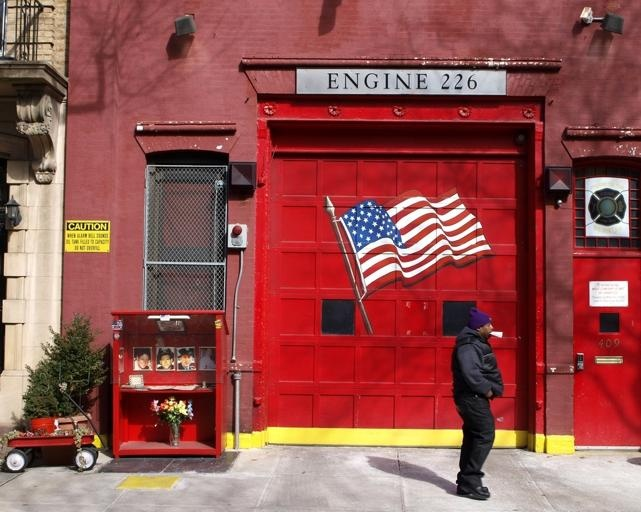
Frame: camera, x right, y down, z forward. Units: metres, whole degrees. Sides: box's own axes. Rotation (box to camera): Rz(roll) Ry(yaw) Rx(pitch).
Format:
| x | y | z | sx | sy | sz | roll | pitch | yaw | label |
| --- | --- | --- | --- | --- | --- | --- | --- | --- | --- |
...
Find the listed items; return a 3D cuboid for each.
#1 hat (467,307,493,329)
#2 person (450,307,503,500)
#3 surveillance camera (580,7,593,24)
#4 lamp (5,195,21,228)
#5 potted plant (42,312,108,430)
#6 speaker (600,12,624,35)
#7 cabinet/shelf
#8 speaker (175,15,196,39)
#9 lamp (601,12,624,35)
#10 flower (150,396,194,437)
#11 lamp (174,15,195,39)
| x | y | z | sx | sy | sz | roll | pitch | yaw | label |
| --- | --- | --- | --- | --- | --- | --- | --- | --- | --- |
| 2.168 | 0.863 | 15.655 | 0.316 | 0.238 | 0.236 | 2 | 1 | 8 | hat |
| 2.104 | 1.978 | 15.454 | 0.672 | 2.559 | 0.517 | -2 | -8 | 10 | person |
| 3.981 | -3.608 | 17.197 | 0.203 | 0.247 | 0.185 | -2 | -8 | 8 | surveillance camera |
| -4.708 | -0.668 | 17.198 | 0.274 | 0.495 | 0.213 | -2 | -8 | 11 | lamp |
| -3.603 | 1.707 | 16.810 | 0.931 | 1.752 | 0.744 | 1 | -8 | -11 | potted plant |
| 4.352 | -3.464 | 17.142 | 0.273 | 0.245 | 0.154 | 15 | 15 | -1 | speaker |
| -2.253 | 1.891 | 16.751 | 2.056 | 2.588 | 1.199 | 0 | -8 | -2 | cabinet/shelf |
| -2.086 | -3.494 | 17.326 | 0.316 | 0.323 | 0.229 | 0 | -8 | -2 | speaker |
| 4.358 | -3.463 | 17.138 | 0.278 | 0.250 | 0.158 | 14 | 13 | 0 | lamp |
| -2.205 | 2.324 | 16.779 | 0.669 | 0.673 | 0.541 | 1 | -4 | -16 | flower |
| -2.078 | -3.455 | 17.284 | 0.368 | 0.343 | 0.185 | -2 | -3 | -3 | lamp |
